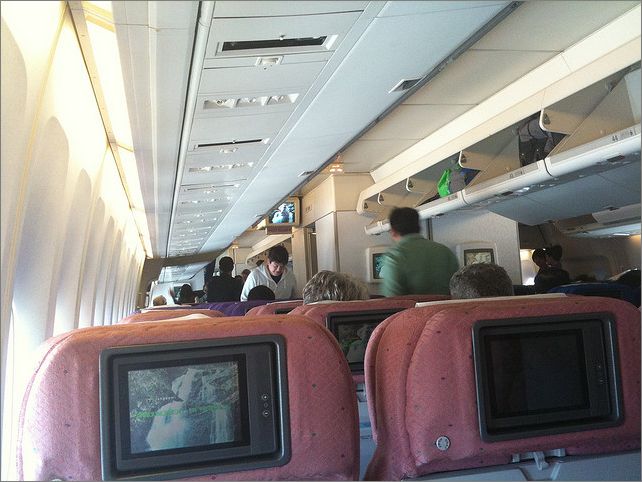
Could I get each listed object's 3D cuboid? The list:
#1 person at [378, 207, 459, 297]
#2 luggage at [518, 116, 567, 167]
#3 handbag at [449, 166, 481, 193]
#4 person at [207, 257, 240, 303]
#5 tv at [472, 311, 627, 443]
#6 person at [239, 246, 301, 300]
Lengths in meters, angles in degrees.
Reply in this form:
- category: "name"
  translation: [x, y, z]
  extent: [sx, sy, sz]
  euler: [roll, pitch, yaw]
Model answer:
- category: "person"
  translation: [0.726, 0.072, 3.353]
  extent: [0.564, 0.734, 0.382]
  euler: [-7, -15, 16]
- category: "luggage"
  translation: [2.605, -1.199, 5.239]
  extent: [0.443, 0.205, 0.542]
  euler: [4, 33, 48]
- category: "handbag"
  translation: [2.018, -0.908, 6.305]
  extent: [0.405, 0.161, 0.309]
  euler: [-20, 18, 50]
- category: "person"
  translation: [-1.524, 0.588, 6.934]
  extent: [0.525, 0.755, 0.434]
  euler: [1, -15, -15]
- category: "tv"
  translation: [0.700, 0.376, 1.379]
  extent: [0.507, 0.366, 0.120]
  euler: [-1, 1, -8]
- category: "person"
  translation: [-0.710, 0.503, 5.988]
  extent: [0.736, 0.706, 1.138]
  euler: [-2, -14, -5]
